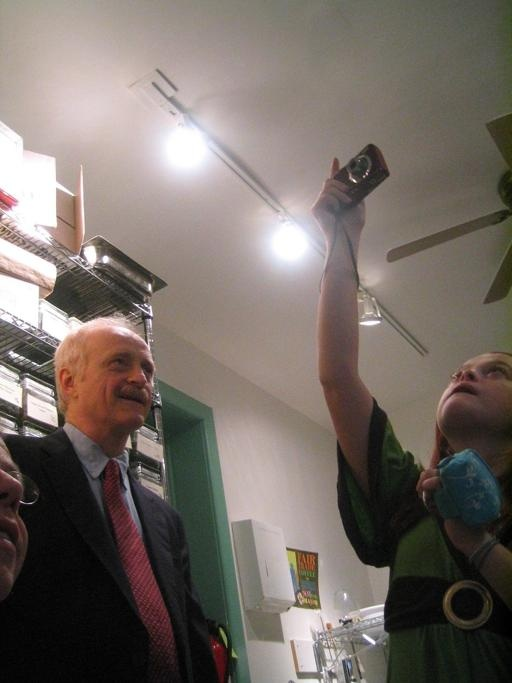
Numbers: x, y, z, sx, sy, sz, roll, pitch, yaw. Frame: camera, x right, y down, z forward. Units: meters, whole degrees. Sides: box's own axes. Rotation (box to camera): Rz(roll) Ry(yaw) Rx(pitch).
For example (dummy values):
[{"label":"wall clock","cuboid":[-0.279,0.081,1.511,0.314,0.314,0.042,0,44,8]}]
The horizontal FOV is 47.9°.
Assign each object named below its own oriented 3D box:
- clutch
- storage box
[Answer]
[{"label":"clutch","cuboid":[0.152,0.101,0.418,0.037,0.059,0.043,2,-5,0]},{"label":"storage box","cuboid":[-0.728,-0.495,2.052,0.296,0.358,0.230,-5,-7,44]}]
